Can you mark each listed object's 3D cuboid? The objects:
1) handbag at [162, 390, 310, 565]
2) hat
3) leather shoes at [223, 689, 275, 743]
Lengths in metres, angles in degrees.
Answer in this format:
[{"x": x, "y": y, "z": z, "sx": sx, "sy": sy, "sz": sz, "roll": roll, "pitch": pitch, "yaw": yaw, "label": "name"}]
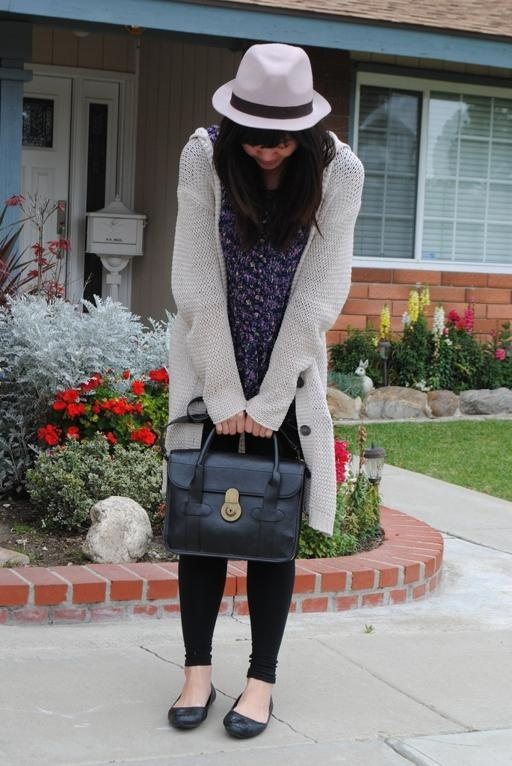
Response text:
[{"x": -0.044, "y": 0.185, "z": 1.995, "sx": 0.374, "sy": 0.409, "sz": 0.151, "roll": 3, "pitch": 14, "yaw": 20, "label": "handbag"}, {"x": 0.036, "y": -0.663, "z": 1.910, "sx": 0.284, "sy": 0.108, "sz": 0.311, "roll": 12, "pitch": 36, "yaw": 9, "label": "hat"}, {"x": -0.023, "y": 0.759, "z": 1.993, "sx": 0.083, "sy": 0.059, "sz": 0.120, "roll": 7, "pitch": 6, "yaw": 19, "label": "leather shoes"}]
